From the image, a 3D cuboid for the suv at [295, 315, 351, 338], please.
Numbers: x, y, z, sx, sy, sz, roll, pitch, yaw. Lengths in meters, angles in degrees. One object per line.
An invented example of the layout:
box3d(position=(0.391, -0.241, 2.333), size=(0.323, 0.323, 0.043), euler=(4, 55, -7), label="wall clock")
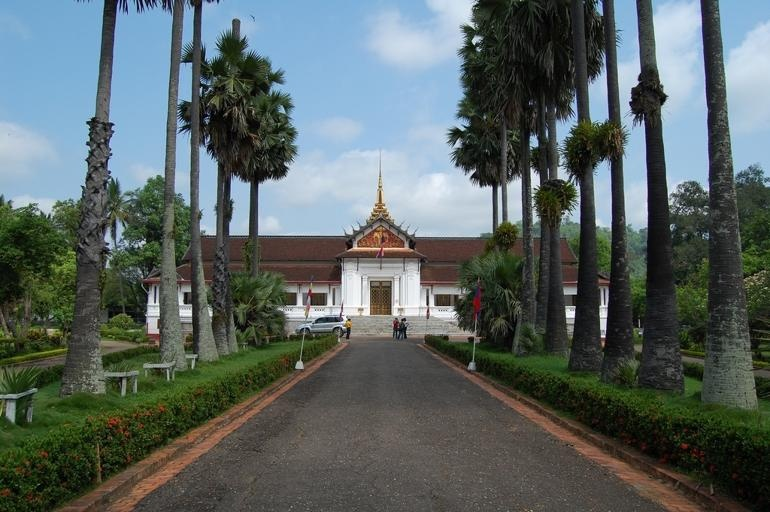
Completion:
box3d(position=(-5.245, 5.238, 48.997), size=(4.516, 2.121, 2.289), euler=(2, -8, 3), label="suv")
